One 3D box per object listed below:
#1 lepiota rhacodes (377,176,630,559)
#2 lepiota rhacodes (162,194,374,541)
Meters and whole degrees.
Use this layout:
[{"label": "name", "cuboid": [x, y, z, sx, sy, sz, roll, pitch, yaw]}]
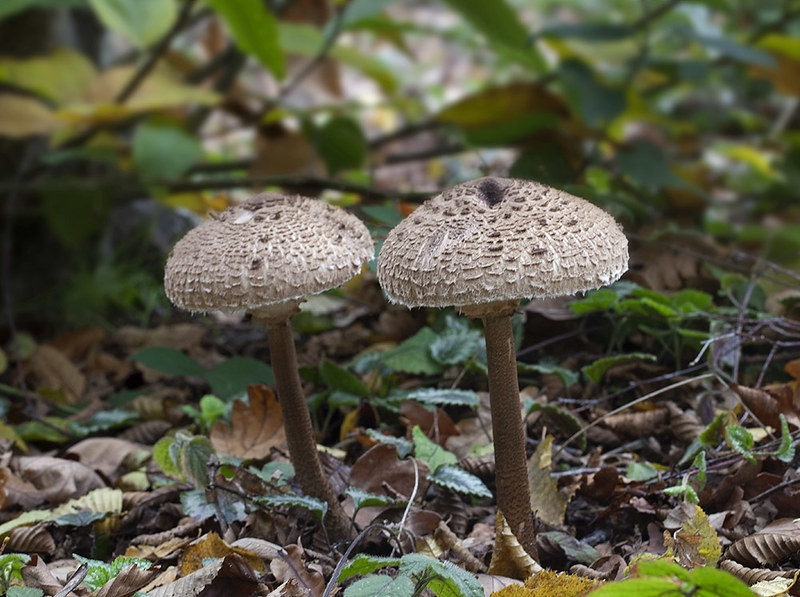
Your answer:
[{"label": "lepiota rhacodes", "cuboid": [0.491, 0.269, 3.671, 0.819, 1.627, 0.934, -2, 13, 10]}, {"label": "lepiota rhacodes", "cuboid": [-0.555, 0.323, 3.879, 0.991, 1.569, 0.999, -12, 19, -25]}]
